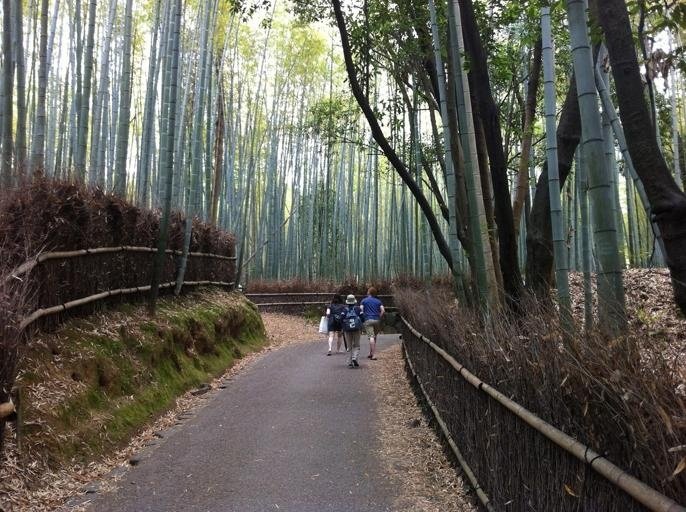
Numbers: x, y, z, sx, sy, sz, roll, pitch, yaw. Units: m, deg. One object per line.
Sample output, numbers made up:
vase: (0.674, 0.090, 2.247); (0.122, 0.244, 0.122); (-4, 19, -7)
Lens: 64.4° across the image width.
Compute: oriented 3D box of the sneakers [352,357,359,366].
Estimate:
sneakers: (0.202, 1.696, 8.707); (0.054, 0.191, 0.074); (-24, 0, -12)

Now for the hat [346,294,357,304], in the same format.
hat: (0.139, 0.741, 9.258); (0.204, 0.170, 0.224); (-4, -1, 4)
